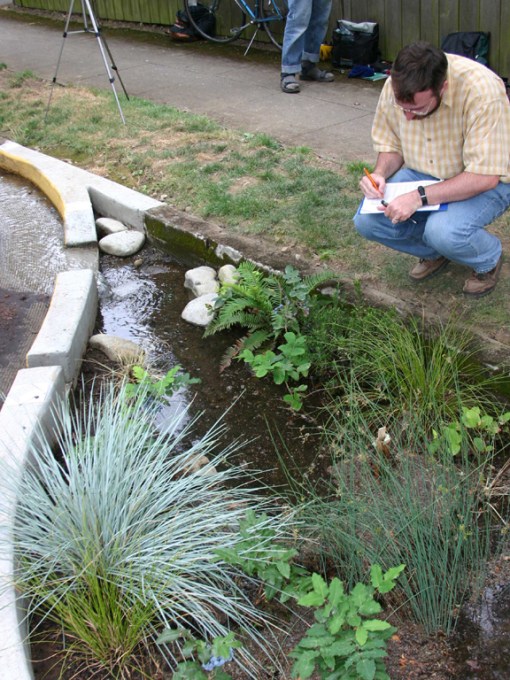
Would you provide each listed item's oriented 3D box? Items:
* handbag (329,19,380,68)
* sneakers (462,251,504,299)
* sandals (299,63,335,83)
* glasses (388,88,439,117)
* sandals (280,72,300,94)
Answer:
[{"bbox_3d":[1.169,-3.433,7.195,0.643,0.583,0.327,24,54,26],"label":"handbag"},{"bbox_3d":[1.087,-0.303,2.988,0.226,0.099,0.105,-52,39,4],"label":"sneakers"},{"bbox_3d":[0.695,-3.072,7.100,0.439,0.281,0.182,6,52,9],"label":"sandals"},{"bbox_3d":[0.683,-0.983,2.609,0.095,0.053,0.122,27,72,44],"label":"glasses"},{"bbox_3d":[0.374,-2.783,6.704,0.163,0.133,0.320,-9,38,-2],"label":"sandals"}]
